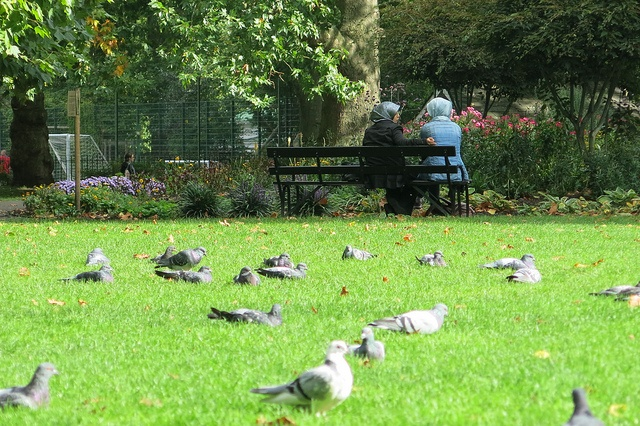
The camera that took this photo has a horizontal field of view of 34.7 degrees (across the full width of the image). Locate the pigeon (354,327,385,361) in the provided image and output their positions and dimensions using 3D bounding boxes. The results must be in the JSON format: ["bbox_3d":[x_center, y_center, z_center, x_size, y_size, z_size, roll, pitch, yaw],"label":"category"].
[{"bbox_3d":[0.759,2.041,15.954,0.508,0.511,0.225,1,12,3],"label":"pigeon"}]

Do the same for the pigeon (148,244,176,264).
[{"bbox_3d":[-2.902,0.765,18.790,0.445,0.355,0.253,-9,1,4],"label":"pigeon"}]

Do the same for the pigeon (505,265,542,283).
[{"bbox_3d":[3.607,1.088,17.904,0.416,0.191,0.279,8,-5,-41],"label":"pigeon"}]

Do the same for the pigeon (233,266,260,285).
[{"bbox_3d":[-1.285,1.111,17.892,0.270,0.284,0.396,0,1,-5],"label":"pigeon"}]

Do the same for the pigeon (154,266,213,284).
[{"bbox_3d":[-2.300,1.102,18.016,0.766,0.244,0.286,-2,13,-10],"label":"pigeon"}]

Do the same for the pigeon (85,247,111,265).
[{"bbox_3d":[-4.163,0.825,19.102,0.428,0.230,0.607,-3,13,-14],"label":"pigeon"}]

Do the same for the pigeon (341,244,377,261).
[{"bbox_3d":[0.669,0.774,19.256,0.508,0.299,0.264,0,0,-10],"label":"pigeon"}]

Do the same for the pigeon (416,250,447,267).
[{"bbox_3d":[2.044,0.878,18.869,0.576,0.260,0.239,-1,-1,36],"label":"pigeon"}]

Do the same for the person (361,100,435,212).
[{"bbox_3d":[1.594,-1.371,23.787,1.392,2.760,1.062,0,1,15],"label":"person"}]

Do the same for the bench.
[{"bbox_3d":[1.046,-0.741,24.051,4.203,1.761,1.394,-1,3,12],"label":"bench"}]
